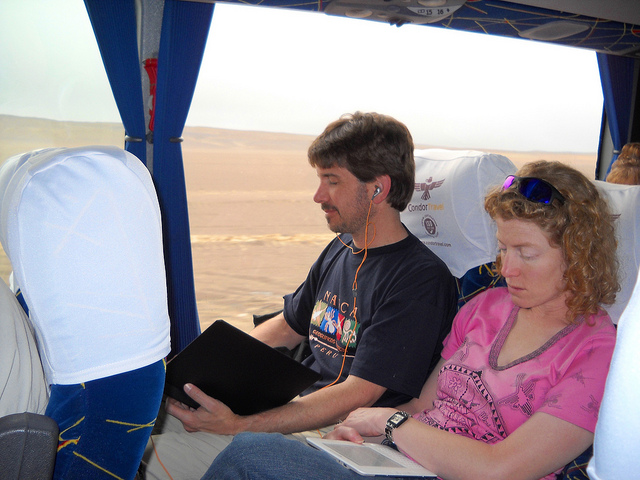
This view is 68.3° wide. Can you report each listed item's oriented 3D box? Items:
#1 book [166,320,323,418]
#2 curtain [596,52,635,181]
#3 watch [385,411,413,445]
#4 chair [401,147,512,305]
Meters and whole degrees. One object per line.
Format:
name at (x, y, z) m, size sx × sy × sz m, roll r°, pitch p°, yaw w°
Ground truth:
book at (-0.237, 0.450, 1.608) m, size 0.342 × 0.260 × 0.320 m, roll 34°, pitch 17°, yaw -14°
curtain at (2.997, -1.384, 4.797) m, size 0.472 × 0.936 × 0.140 m, roll 4°, pitch 6°, yaw -8°
watch at (0.227, 0.564, 1.411) m, size 0.055 × 0.093 × 0.054 m, roll 10°, pitch 8°, yaw 44°
chair at (0.590, -0.110, 2.056) m, size 0.451 × 0.514 × 0.417 m, roll 7°, pitch 18°, yaw 39°
